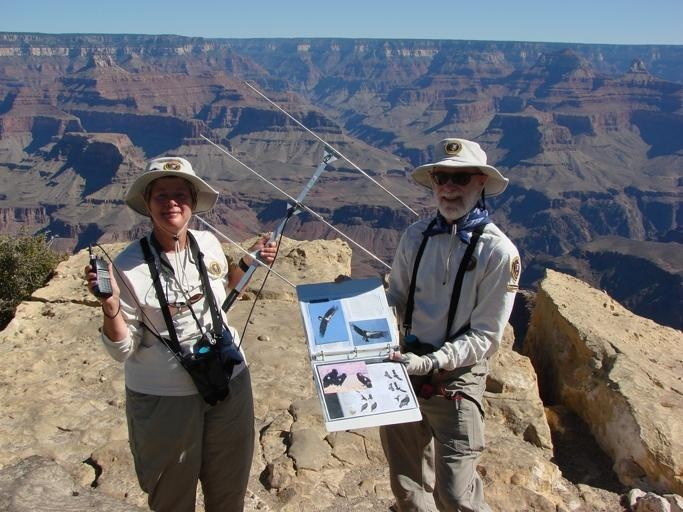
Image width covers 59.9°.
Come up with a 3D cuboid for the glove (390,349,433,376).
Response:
[{"bbox_3d":[0.753,1.265,6.995,0.646,0.221,0.205,6,-3,1],"label":"glove"}]

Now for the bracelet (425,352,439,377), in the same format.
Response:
[{"bbox_3d":[1.058,1.307,7.029,0.151,0.278,0.223,5,5,33],"label":"bracelet"}]

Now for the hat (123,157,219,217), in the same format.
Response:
[{"bbox_3d":[-2.092,-0.926,7.220,0.894,0.927,0.439,5,54,-19],"label":"hat"}]

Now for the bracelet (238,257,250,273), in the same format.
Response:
[{"bbox_3d":[-1.230,0.119,7.489,0.113,0.147,0.146,-24,26,-8],"label":"bracelet"}]
